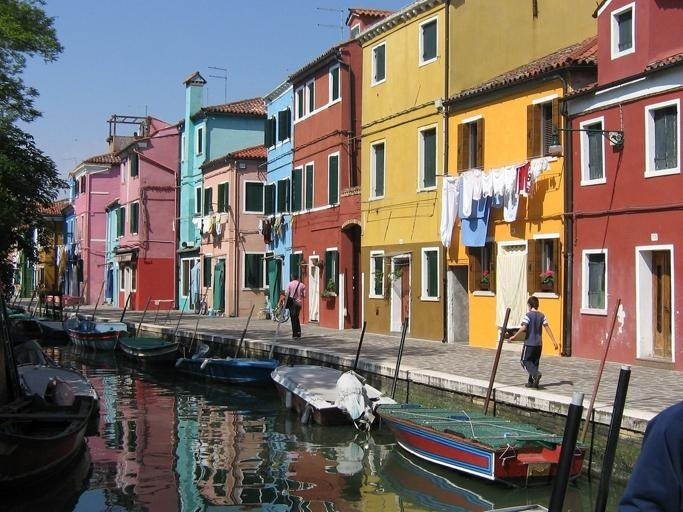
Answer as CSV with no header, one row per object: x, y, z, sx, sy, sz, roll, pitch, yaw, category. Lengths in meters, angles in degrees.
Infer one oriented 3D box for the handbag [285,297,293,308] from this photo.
-1.720,1.552,29.023,0.293,0.400,0.315,1,-8,7,handbag

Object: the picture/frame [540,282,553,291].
5.600,0.851,23.921,0.232,0.175,0.174,-2,-5,24,picture/frame

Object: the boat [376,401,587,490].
2.377,3.544,16.860,1.530,1.023,3.393,7,-2,-41,boat

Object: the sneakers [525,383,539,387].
3.915,2.695,18.175,0.104,0.089,0.207,2,-5,-38,sneakers

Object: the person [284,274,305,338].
-1.584,1.698,29.000,0.579,2.111,1.008,3,-7,-4,person

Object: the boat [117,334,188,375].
-6.786,3.465,30.876,1.055,0.863,3.376,1,-2,-27,boat

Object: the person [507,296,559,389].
4.025,1.808,18.610,0.600,1.998,1.511,-1,-8,22,person

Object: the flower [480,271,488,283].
4.250,0.630,26.190,0.170,0.389,0.588,2,-8,-2,flower

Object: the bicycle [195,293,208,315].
-6.822,2.389,42.799,0.726,0.886,1.336,11,-9,-26,bicycle

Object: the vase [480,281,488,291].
4.214,0.904,26.007,0.156,0.226,0.287,4,-7,-42,vase

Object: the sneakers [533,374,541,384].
4.036,2.636,18.185,0.124,0.330,0.114,3,20,18,sneakers

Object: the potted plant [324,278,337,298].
-0.430,1.197,33.528,0.303,0.723,0.711,7,-9,-35,potted plant

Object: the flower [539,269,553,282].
5.580,0.572,23.989,0.277,0.317,0.290,2,2,-13,flower

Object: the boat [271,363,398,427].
-0.264,3.333,20.962,1.655,1.395,3.639,6,-9,-21,boat

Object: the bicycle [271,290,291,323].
-2.395,2.088,33.940,0.794,1.165,1.819,4,-12,-19,bicycle
